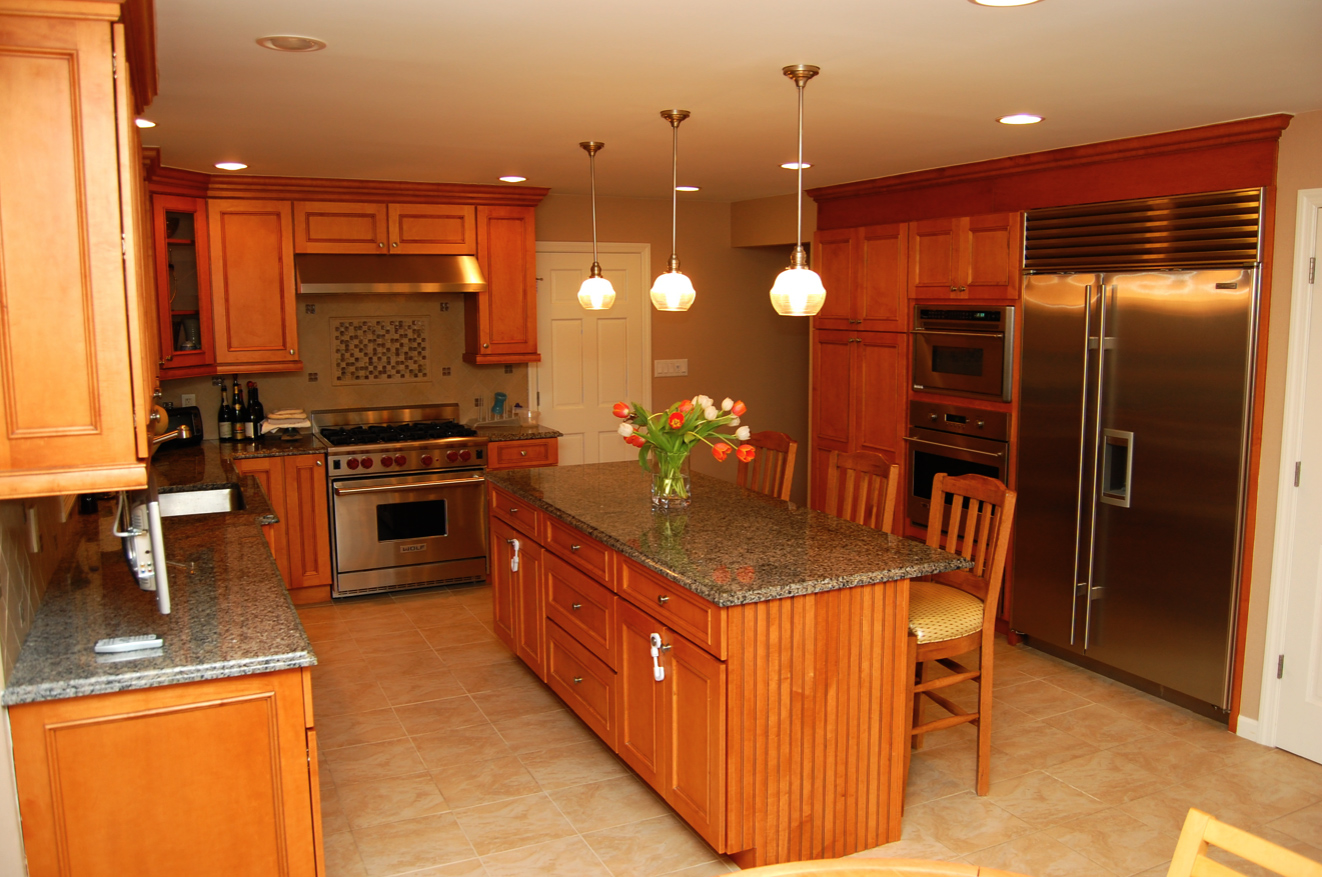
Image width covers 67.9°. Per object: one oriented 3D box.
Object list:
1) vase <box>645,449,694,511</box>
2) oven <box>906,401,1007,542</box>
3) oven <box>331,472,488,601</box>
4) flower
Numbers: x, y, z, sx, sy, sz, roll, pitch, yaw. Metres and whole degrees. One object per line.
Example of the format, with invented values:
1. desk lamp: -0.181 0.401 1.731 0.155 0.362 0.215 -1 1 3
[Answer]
1. vase: 0.053 0.240 4.968 0.287 0.264 0.251 -2 3 1
2. oven: 1.979 0.132 6.287 0.666 0.758 0.621 11 19 40
3. oven: -1.791 0.500 6.978 1.357 0.931 0.849 -1 2 -27
4. flower: 0.137 -0.017 5.002 0.781 0.545 0.731 -4 10 -26
